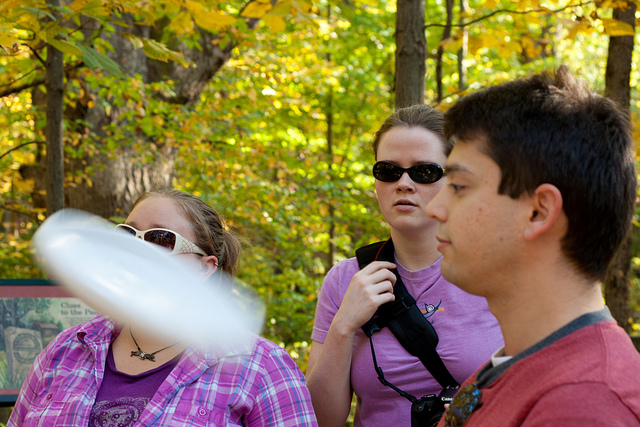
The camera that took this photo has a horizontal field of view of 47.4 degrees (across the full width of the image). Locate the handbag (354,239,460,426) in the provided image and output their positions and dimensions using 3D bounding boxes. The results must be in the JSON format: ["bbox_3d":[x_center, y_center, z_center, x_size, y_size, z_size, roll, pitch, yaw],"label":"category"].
[{"bbox_3d":[0.419,0.650,4.074,0.524,0.895,0.323,-23,-4,-3],"label":"handbag"}]

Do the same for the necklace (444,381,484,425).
[{"bbox_3d":[0.625,0.832,3.196,0.049,0.123,0.207,19,-62,-28],"label":"necklace"}]
